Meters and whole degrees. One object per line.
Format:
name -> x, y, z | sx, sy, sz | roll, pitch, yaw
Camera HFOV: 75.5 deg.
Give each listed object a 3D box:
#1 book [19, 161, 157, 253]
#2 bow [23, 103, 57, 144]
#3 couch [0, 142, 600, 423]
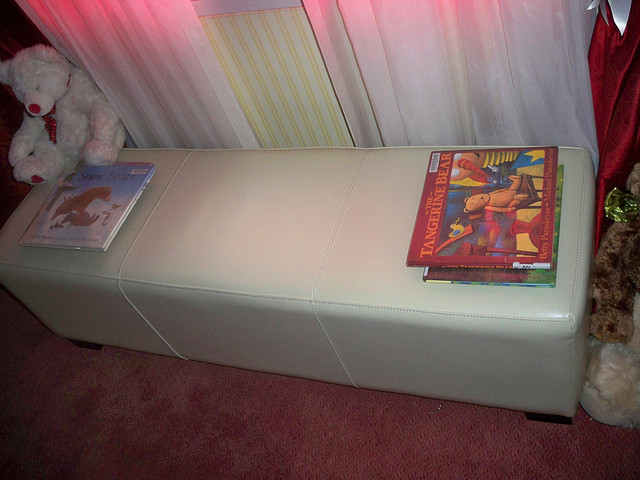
book -> -0.760, -0.116, 1.378 | 0.342, 0.058, 0.357 | 2, 54, 20
bow -> -0.972, -0.404, 1.441 | 0.116, 0.041, 0.120 | 27, 102, -2
couch -> -0.042, 0.121, 1.133 | 1.033, 0.391, 0.381 | 6, 57, 16
